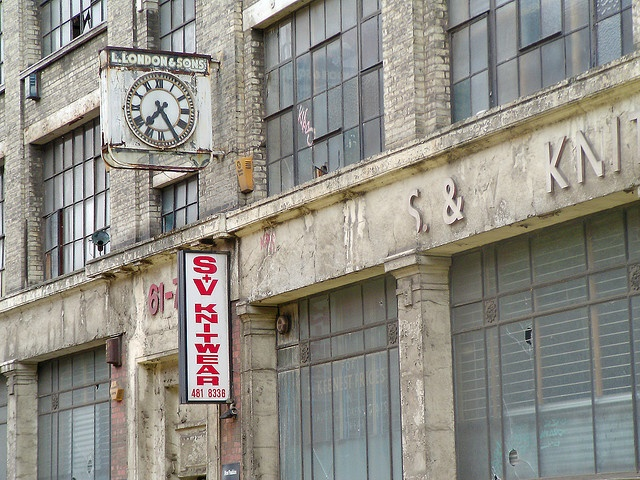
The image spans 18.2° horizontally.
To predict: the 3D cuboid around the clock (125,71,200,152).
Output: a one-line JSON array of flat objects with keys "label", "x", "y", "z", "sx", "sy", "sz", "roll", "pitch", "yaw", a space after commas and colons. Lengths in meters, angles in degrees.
[{"label": "clock", "x": -2.667, "y": -2.111, "z": 33.002, "sx": 1.210, "sy": 1.431, "sz": 0.086, "roll": 4, "pitch": -17, "yaw": -23}]
